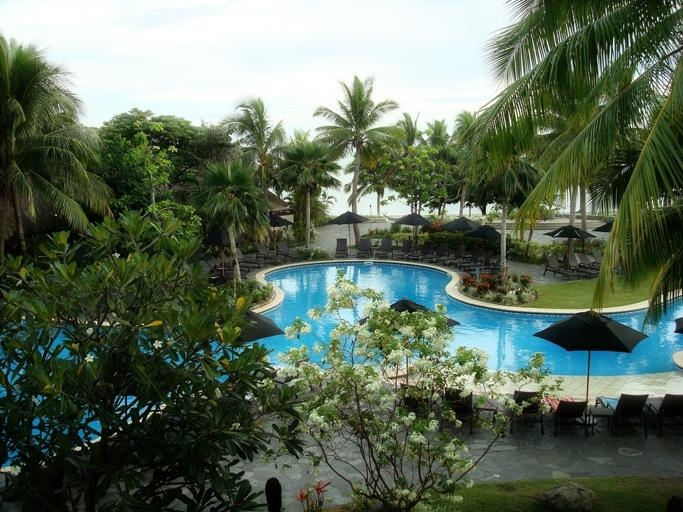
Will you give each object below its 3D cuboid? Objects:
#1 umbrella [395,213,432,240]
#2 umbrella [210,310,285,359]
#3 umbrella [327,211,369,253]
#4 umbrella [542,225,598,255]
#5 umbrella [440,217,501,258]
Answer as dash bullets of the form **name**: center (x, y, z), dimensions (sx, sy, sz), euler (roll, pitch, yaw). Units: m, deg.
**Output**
- **umbrella**: center (4.549, -1.720, 31.556), dimensions (1.962, 1.385, 1.863), euler (-1, 8, -7)
- **umbrella**: center (-1.899, 1.371, 10.533), dimensions (1.200, 0.405, 1.246), euler (7, 9, 17)
- **umbrella**: center (0.500, -1.710, 36.495), dimensions (3.627, 2.790, 3.652), euler (0, 10, 6)
- **umbrella**: center (11.607, -1.077, 25.067), dimensions (1.987, 0.966, 1.951), euler (2, 1, 17)
- **umbrella**: center (6.966, -0.806, 26.243), dimensions (2.138, 1.520, 2.296), euler (11, 11, 34)
